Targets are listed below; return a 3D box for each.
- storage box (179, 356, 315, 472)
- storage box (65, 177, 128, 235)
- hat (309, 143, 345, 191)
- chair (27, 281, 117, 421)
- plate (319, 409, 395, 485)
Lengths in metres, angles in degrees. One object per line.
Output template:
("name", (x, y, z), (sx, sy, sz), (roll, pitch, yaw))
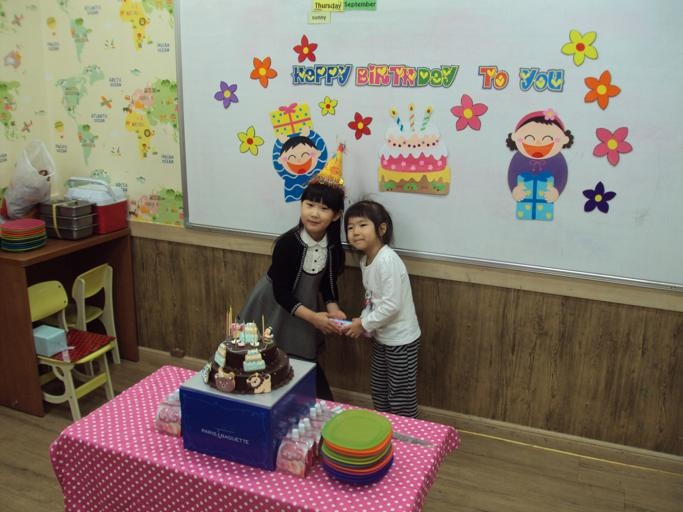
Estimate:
("storage box", (-0.338, 0.551, 1.954), (0.431, 0.254, 0.330), (8, 18, 13))
("storage box", (-1.566, -0.339, 3.353), (0.330, 0.321, 0.248), (10, 19, 20))
("hat", (-0.044, -0.450, 2.677), (0.133, 0.199, 0.226), (15, 21, 34))
("chair", (-1.562, 0.554, 3.007), (0.452, 0.744, 0.425), (15, 21, 15))
("plate", (0.061, 0.652, 1.855), (0.176, 0.094, 0.221), (2, 21, 6))
